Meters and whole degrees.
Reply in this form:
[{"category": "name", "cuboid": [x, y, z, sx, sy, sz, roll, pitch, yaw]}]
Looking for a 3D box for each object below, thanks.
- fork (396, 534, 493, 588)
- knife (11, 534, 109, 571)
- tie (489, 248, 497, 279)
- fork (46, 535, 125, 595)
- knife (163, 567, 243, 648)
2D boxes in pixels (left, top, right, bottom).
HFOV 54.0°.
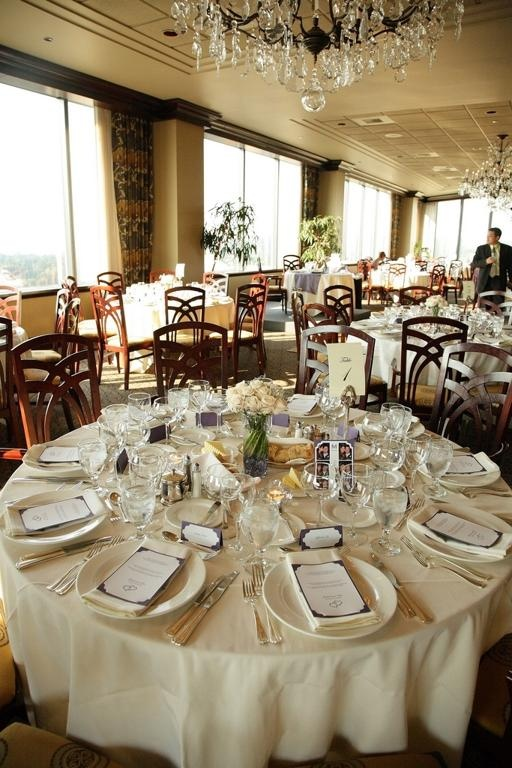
[{"category": "fork", "cuboid": [0.384, 0.355, 1.045, 0.179, 0.028, 0.049, 23, 24, 39]}, {"category": "knife", "cuboid": [-0.387, 0.337, 1.015, 0.051, 0.016, 0.192, 24, 24, 34]}, {"category": "tie", "cuboid": [3.279, -1.709, 6.994, 0.080, 0.430, 0.096, -1, 12, -2]}, {"category": "fork", "cuboid": [-0.330, 0.349, 0.989, 0.032, 0.014, 0.164, 1, 12, 14]}, {"category": "knife", "cuboid": [-0.096, 0.374, 0.865, 0.032, 0.011, 0.188, 7, 14, 17]}]
